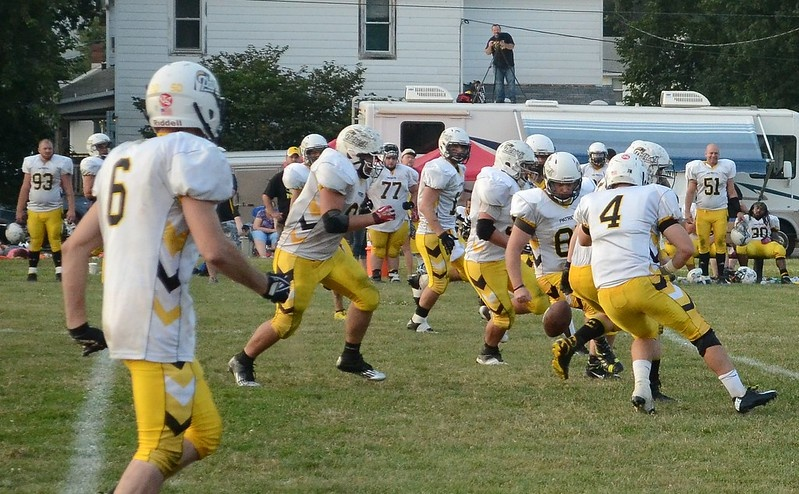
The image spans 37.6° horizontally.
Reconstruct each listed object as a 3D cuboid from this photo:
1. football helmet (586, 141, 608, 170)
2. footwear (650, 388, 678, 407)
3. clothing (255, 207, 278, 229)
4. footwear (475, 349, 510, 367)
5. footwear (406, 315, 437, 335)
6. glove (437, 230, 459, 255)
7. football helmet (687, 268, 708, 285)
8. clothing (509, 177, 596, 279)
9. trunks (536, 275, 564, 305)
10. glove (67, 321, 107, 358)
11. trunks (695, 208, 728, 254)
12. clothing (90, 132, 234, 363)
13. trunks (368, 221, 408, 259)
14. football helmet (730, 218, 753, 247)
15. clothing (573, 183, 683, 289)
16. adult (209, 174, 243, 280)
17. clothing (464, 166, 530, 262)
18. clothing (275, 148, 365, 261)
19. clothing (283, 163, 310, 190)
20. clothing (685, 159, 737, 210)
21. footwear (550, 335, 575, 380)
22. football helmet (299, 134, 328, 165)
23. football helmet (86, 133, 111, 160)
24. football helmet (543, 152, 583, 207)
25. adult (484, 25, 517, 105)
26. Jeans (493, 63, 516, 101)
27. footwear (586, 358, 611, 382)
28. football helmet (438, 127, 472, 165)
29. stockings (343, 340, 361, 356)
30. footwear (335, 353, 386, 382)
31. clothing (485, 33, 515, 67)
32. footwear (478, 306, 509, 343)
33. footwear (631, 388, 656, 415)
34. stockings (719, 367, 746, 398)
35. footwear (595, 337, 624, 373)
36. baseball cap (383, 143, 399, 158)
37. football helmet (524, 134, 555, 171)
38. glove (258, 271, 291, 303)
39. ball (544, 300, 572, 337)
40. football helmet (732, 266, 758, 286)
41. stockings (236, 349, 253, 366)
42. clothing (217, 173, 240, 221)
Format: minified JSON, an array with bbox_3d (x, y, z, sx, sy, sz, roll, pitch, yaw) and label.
[{"bbox_3d":[3.270,-1.530,19.465,0.447,0.495,0.516,0,-2,1],"label":"football helmet"},{"bbox_3d":[3.341,1.899,14.754,0.352,0.138,0.112,0,5,-3],"label":"footwear"},{"bbox_3d":[-2.524,-0.542,22.496,0.233,0.405,0.400,-33,-12,31],"label":"clothing"},{"bbox_3d":[1.252,1.519,15.837,0.464,0.194,0.156,2,-3,0],"label":"footwear"},{"bbox_3d":[0.345,1.144,17.239,0.381,0.152,0.212,4,2,8],"label":"footwear"},{"bbox_3d":[0.763,-0.075,16.629,0.144,0.349,0.268,-24,20,-27],"label":"glove"},{"bbox_3d":[5.395,0.551,21.190,0.316,0.322,0.247,-3,6,0],"label":"football helmet"},{"bbox_3d":[1.957,0.012,15.705,1.322,1.166,0.701,9,-15,-41],"label":"clothing"},{"bbox_3d":[2.025,0.567,15.690,0.219,0.260,0.369,-36,-2,4],"label":"trunks"},{"bbox_3d":[-3.221,0.998,12.544,0.403,0.361,0.172,3,-27,-44],"label":"glove"},{"bbox_3d":[5.607,-0.318,21.111,0.733,0.927,0.278,-8,21,14],"label":"trunks"},{"bbox_3d":[-2.534,-0.021,12.822,1.850,2.344,1.299,-1,-3,39],"label":"clothing"},{"bbox_3d":[-0.200,-0.093,19.983,0.894,0.767,0.559,-2,5,-13],"label":"trunks"},{"bbox_3d":[6.238,-0.291,21.497,0.426,0.498,0.517,6,23,10],"label":"football helmet"},{"bbox_3d":[2.943,-0.108,14.722,0.894,1.351,1.571,5,-11,-44],"label":"clothing"},{"bbox_3d":[-3.085,-0.542,22.509,0.655,1.950,0.615,-21,58,-21],"label":"adult"},{"bbox_3d":[1.329,-0.499,16.395,0.778,1.275,1.161,2,15,-2],"label":"clothing"},{"bbox_3d":[-1.038,-0.581,15.398,0.999,1.494,1.577,20,8,-5],"label":"clothing"},{"bbox_3d":[-1.355,-0.964,16.086,0.427,0.314,0.410,-2,-17,-1],"label":"clothing"},{"bbox_3d":[5.558,-1.108,20.942,0.953,0.868,0.509,-1,6,7],"label":"clothing"},{"bbox_3d":[2.094,1.402,15.110,0.324,0.707,0.256,-30,47,-13],"label":"footwear"},{"bbox_3d":[-1.292,-1.557,18.651,0.464,0.530,0.546,-8,8,-20],"label":"football helmet"},{"bbox_3d":[-5.146,-1.750,20.198,0.572,0.488,0.436,-4,5,-4],"label":"football helmet"},{"bbox_3d":[2.123,-0.941,15.332,0.516,0.555,0.638,-3,18,-5],"label":"football helmet"},{"bbox_3d":[2.367,-4.206,26.965,0.709,1.849,0.710,-7,4,19],"label":"adult"},{"bbox_3d":[2.456,-3.839,27.260,0.478,0.988,0.324,0,36,7],"label":"Jeans"},{"bbox_3d":[2.699,1.625,15.489,0.466,0.293,0.164,1,2,9],"label":"footwear"},{"bbox_3d":[0.844,-1.499,17.257,0.406,0.429,0.540,2,1,-26],"label":"football helmet"},{"bbox_3d":[-0.599,1.315,15.193,0.189,0.170,0.173,3,3,8],"label":"stockings"},{"bbox_3d":[-0.502,1.582,15.306,0.767,0.308,0.270,18,3,-11],"label":"footwear"},{"bbox_3d":[2.311,-4.506,26.867,0.613,0.767,0.544,-10,23,0],"label":"clothing"},{"bbox_3d":[1.361,1.075,17.547,0.295,0.365,0.502,-30,-19,21],"label":"footwear"},{"bbox_3d":[3.021,1.922,14.487,0.336,0.270,0.246,0,6,-4],"label":"footwear"},{"bbox_3d":[4.102,1.707,14.522,0.264,0.361,0.250,-35,2,-31],"label":"stockings"},{"bbox_3d":[2.784,1.469,15.635,0.175,0.348,0.505,-25,47,-23],"label":"footwear"},{"bbox_3d":[-0.122,-1.651,19.477,0.249,0.263,0.280,8,31,10],"label":"baseball cap"},{"bbox_3d":[2.078,-1.408,17.119,0.471,0.519,0.539,-1,7,-7],"label":"football helmet"},{"bbox_3d":[-1.299,0.455,12.644,0.342,0.304,0.252,12,-6,-25],"label":"glove"},{"bbox_3d":[2.061,0.949,15.242,0.288,0.460,0.350,30,32,15],"label":"ball"},{"bbox_3d":[6.306,0.506,21.385,0.343,0.272,0.370,-9,7,16],"label":"football helmet"},{"bbox_3d":[-1.949,1.418,14.902,0.200,0.144,0.161,36,12,-40],"label":"stockings"},{"bbox_3d":[-2.937,-0.887,20.918,0.256,0.855,0.270,6,9,28],"label":"clothing"}]
